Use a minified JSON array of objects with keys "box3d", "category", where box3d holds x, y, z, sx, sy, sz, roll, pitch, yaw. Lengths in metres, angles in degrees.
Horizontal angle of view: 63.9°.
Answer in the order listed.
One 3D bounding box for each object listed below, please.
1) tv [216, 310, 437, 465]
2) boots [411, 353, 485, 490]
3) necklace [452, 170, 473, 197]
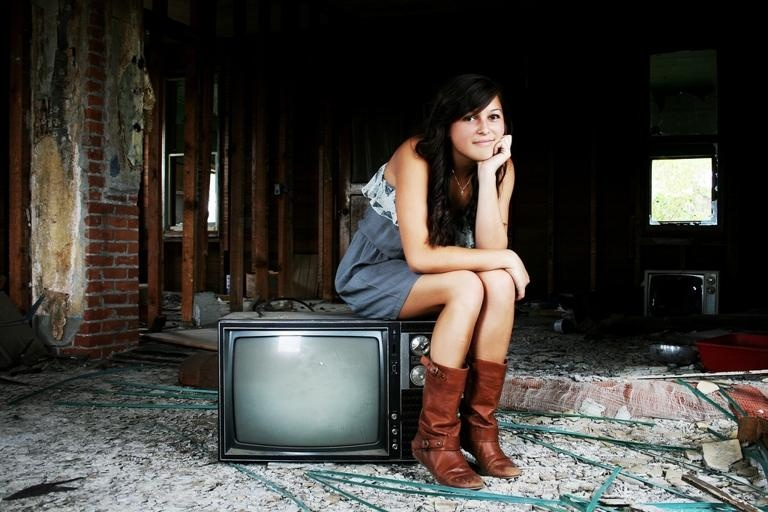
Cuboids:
[{"box3d":[-0.291,0.611,2.799,1.031,0.707,0.631,1,-2,5],"category":"tv"},{"box3d":[0.280,0.727,2.714,0.305,0.531,0.208,1,12,2],"category":"boots"},{"box3d":[0.378,-0.359,3.003,0.123,0.147,0.019,-1,12,-3],"category":"necklace"}]
